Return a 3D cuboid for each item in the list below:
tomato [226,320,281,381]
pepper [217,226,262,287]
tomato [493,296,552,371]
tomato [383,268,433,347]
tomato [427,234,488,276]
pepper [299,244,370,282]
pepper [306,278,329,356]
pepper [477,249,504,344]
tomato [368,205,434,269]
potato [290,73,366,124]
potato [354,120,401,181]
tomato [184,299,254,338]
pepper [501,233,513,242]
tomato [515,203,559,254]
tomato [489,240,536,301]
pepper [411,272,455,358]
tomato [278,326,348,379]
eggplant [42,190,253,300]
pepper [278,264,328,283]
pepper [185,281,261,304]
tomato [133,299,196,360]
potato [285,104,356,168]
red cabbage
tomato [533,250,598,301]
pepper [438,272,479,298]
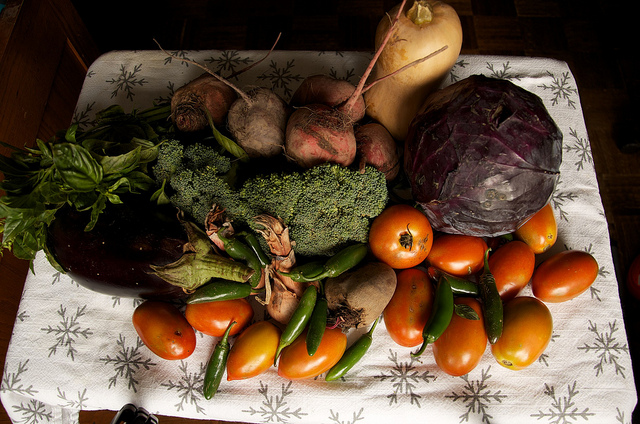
[{"bbox_3d":[-0.215,0.453,1.697,0.145,0.103,0.194,13,63,3],"label":"tomato"},{"bbox_3d":[-0.246,0.135,1.700,0.224,0.072,0.088,46,69,-1],"label":"pepper"},{"bbox_3d":[0.629,0.387,1.648,0.211,0.130,0.229,7,40,18],"label":"tomato"},{"bbox_3d":[0.279,0.302,1.664,0.173,0.156,0.168,-23,46,-21],"label":"tomato"},{"bbox_3d":[0.438,0.137,1.723,0.173,0.121,0.122,3,96,0],"label":"tomato"},{"bbox_3d":[0.062,0.161,1.708,0.271,0.070,0.078,-27,29,-15],"label":"pepper"},{"bbox_3d":[-0.005,0.337,1.651,0.057,0.067,0.224,9,62,1],"label":"pepper"},{"bbox_3d":[0.530,0.268,1.655,0.057,0.057,0.255,20,62,-25],"label":"pepper"},{"bbox_3d":[0.254,0.083,1.765,0.208,0.197,0.188,-2,92,-2],"label":"tomato"},{"bbox_3d":[0.025,-0.380,1.770,0.219,0.118,0.156,12,52,8],"label":"potato"},{"bbox_3d":[0.186,-0.209,1.735,0.148,0.180,0.195,11,36,17],"label":"potato"},{"bbox_3d":[-0.327,0.337,1.701,0.186,0.115,0.106,-5,98,0],"label":"tomato"},{"bbox_3d":[0.625,0.087,1.755,0.031,0.011,0.023,-11,107,8],"label":"pepper"},{"bbox_3d":[0.722,0.064,1.792,0.125,0.159,0.123,-14,47,-12],"label":"tomato"},{"bbox_3d":[0.617,0.184,1.746,0.137,0.116,0.190,25,88,-28],"label":"tomato"},{"bbox_3d":[0.372,0.332,1.647,0.079,0.112,0.256,20,63,6],"label":"pepper"},{"bbox_3d":[-0.029,0.459,1.708,0.211,0.121,0.130,-27,101,4],"label":"tomato"},{"bbox_3d":[-0.594,0.129,1.677,0.445,0.231,0.264,17,21,6],"label":"eggplant"},{"bbox_3d":[-0.058,0.188,1.648,0.151,0.050,0.055,-4,51,-9],"label":"pepper"},{"bbox_3d":[-0.309,0.247,1.685,0.232,0.092,0.079,-2,64,-5],"label":"pepper"},{"bbox_3d":[-0.509,0.386,1.722,0.143,0.087,0.227,-38,71,-20],"label":"tomato"},{"bbox_3d":[0.005,-0.235,1.657,0.207,0.111,0.166,3,63,-2],"label":"potato"},{"bbox_3d":[0.507,-0.170,1.672,0.481,0.322,0.416,19,63,6],"label":"red cabbage"},{"bbox_3d":[0.796,0.215,1.725,0.202,0.110,0.145,-24,67,-15],"label":"tomato"},{"bbox_3d":[0.453,0.236,1.717,0.170,0.051,0.048,21,90,-16],"label":"pepper"}]
